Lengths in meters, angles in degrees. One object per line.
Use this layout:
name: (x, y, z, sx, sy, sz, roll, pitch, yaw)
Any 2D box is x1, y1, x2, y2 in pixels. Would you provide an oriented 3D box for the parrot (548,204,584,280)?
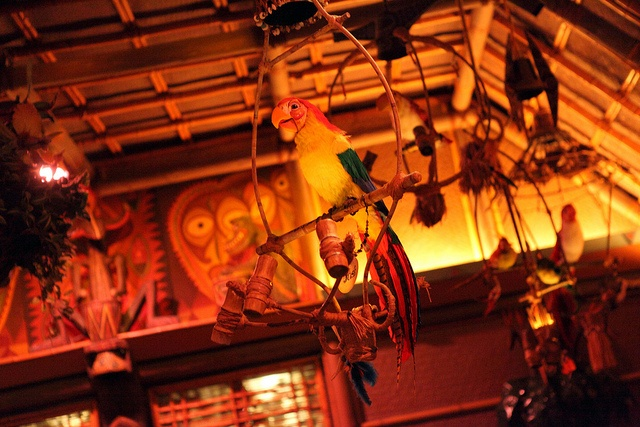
parrot: (2.684, 0.220, 10.727, 0.256, 0.628, 0.202, 5, 7, -32)
